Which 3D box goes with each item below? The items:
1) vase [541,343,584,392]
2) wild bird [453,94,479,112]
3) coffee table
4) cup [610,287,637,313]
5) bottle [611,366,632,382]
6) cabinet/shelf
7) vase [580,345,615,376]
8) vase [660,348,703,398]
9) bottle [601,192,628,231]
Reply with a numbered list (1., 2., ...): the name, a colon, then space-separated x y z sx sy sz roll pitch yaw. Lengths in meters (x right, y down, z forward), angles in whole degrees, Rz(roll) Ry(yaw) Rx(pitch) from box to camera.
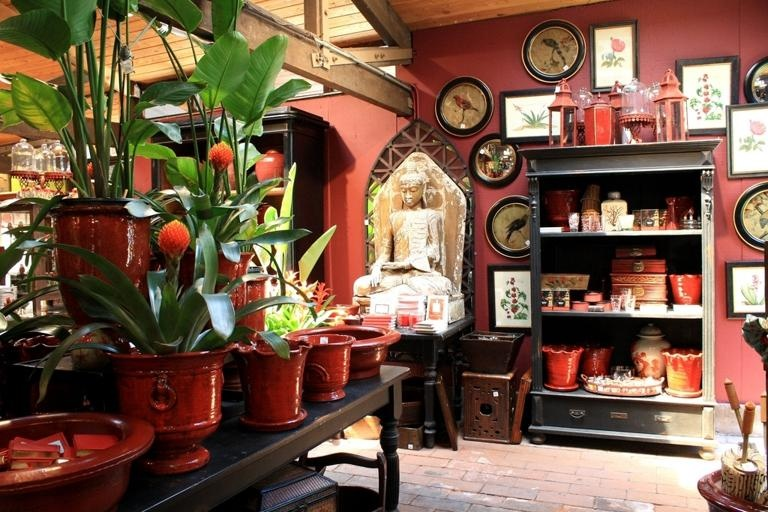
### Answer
1. vase: 1.281 0.813 4.267 0.304 0.284 0.297 2 -2 -5
2. wild bird: 0.718 -1.284 4.916 0.243 0.087 0.139 18 -30 31
3. coffee table: 0.413 0.919 4.452 0.766 0.787 0.863 -1 -3 21
4. cup: 1.700 0.319 4.190 0.172 0.163 0.148 7 -10 -21
5. bottle: 1.705 0.847 4.250 0.114 0.068 0.111 -1 1 0
6. cabinet/shelf: 1.727 0.272 4.317 1.299 2.150 0.916 2 6 25
7. vase: 1.588 0.785 4.376 0.211 0.221 0.215 2 -2 26
8. vase: 2.066 0.799 4.118 0.305 0.286 0.298 -4 4 -44
9. bottle: 1.681 -0.333 4.292 0.180 0.280 0.183 -2 5 0
